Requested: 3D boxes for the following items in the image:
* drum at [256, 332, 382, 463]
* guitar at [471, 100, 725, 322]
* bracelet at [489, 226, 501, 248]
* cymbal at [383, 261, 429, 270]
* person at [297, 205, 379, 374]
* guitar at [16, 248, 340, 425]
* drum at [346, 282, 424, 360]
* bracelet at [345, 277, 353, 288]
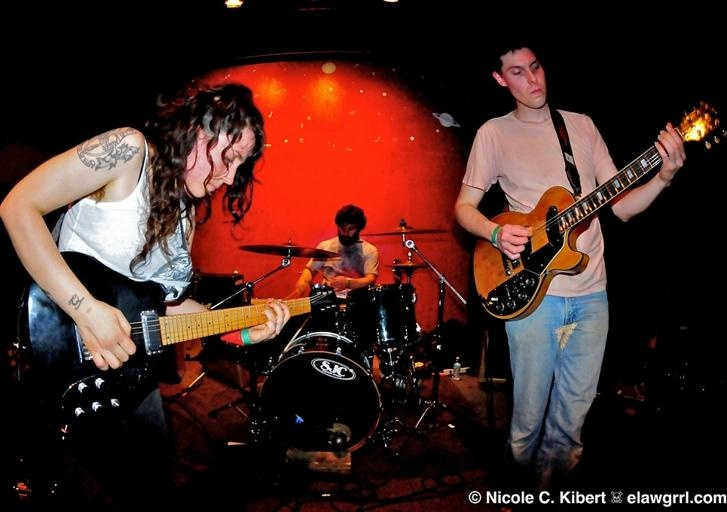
[{"bbox_3d":[-0.260,1.095,4.961,1.307,1.409,0.799,0,12,4],"label":"drum"},{"bbox_3d":[1.901,-0.353,4.381,1.934,0.729,0.262,-33,-20,13],"label":"guitar"},{"bbox_3d":[0.947,-0.142,4.011,0.045,0.122,0.110,4,-1,20],"label":"bracelet"},{"bbox_3d":[0.489,0.107,5.900,0.223,0.068,0.211,6,-6,-26],"label":"cymbal"},{"bbox_3d":[-0.382,0.010,6.725,1.147,1.231,0.838,-4,11,-28],"label":"person"},{"bbox_3d":[-0.967,0.307,3.413,2.306,1.009,0.259,-28,-51,32],"label":"guitar"},{"bbox_3d":[0.187,0.542,4.925,0.588,0.460,0.598,-15,-4,-1],"label":"drum"},{"bbox_3d":[-0.154,0.302,6.216,0.086,0.069,0.092,-2,-2,29],"label":"bracelet"}]
